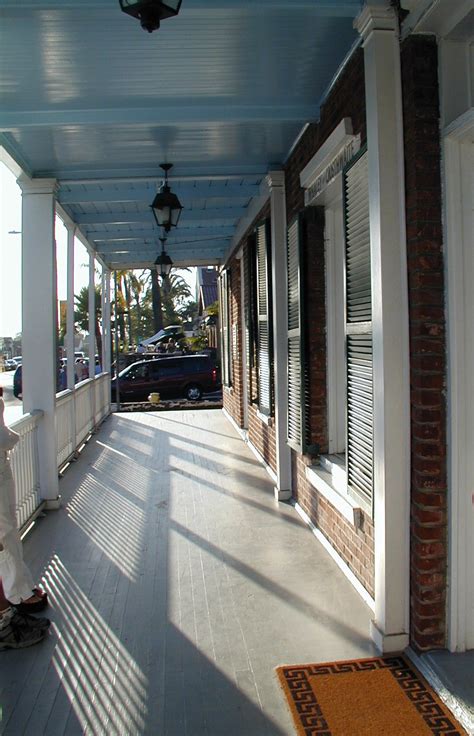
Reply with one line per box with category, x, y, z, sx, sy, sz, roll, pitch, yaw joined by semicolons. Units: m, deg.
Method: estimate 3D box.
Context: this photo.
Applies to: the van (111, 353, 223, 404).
van;-2.035;0.356;14.778;2.886;1.198;1.474;0;-1;-4
